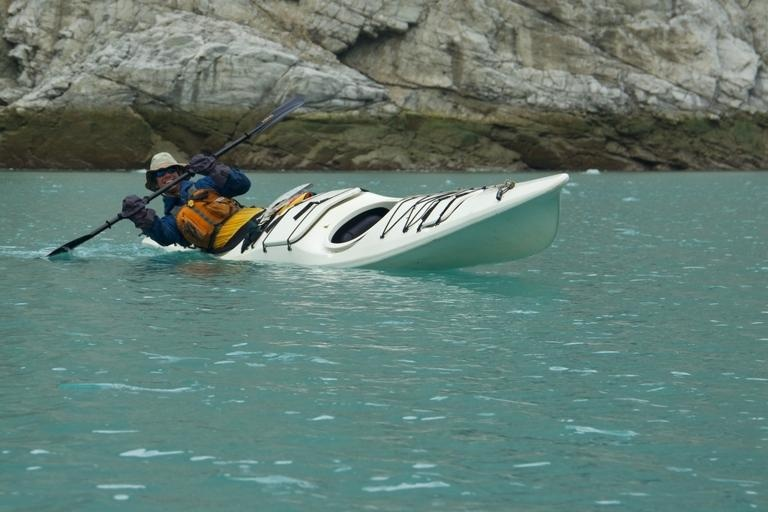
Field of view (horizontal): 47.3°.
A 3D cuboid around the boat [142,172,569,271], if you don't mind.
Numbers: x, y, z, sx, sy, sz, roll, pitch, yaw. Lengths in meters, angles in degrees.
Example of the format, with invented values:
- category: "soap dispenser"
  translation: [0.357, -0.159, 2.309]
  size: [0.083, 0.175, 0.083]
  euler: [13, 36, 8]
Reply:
- category: "boat"
  translation: [0.208, -0.550, 13.481]
  size: [4.497, 1.817, 0.763]
  euler: [10, 11, 20]
